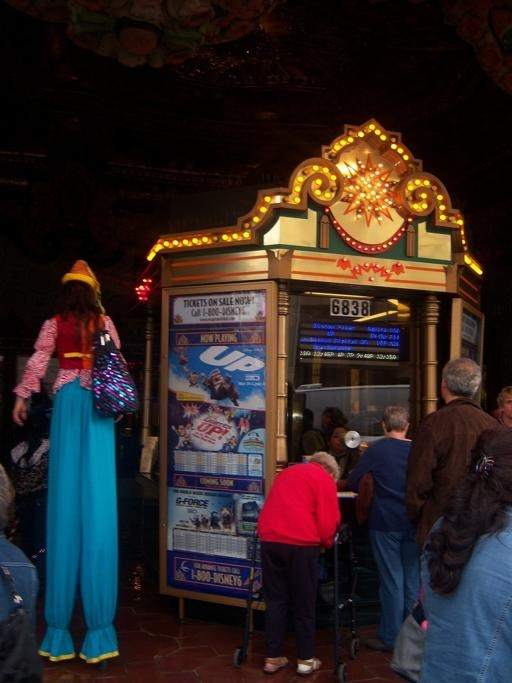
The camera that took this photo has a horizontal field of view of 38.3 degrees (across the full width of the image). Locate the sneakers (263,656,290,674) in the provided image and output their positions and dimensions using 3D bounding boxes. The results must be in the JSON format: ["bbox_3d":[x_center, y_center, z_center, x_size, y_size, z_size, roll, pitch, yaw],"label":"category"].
[{"bbox_3d":[0.104,1.940,4.484,0.070,0.074,0.204,2,6,35],"label":"sneakers"}]

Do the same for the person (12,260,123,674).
[{"bbox_3d":[-1.134,0.698,4.425,0.622,2.453,0.384,3,-5,-12],"label":"person"}]

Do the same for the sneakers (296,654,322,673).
[{"bbox_3d":[0.313,1.934,4.446,0.076,0.078,0.199,-1,-1,30],"label":"sneakers"}]
